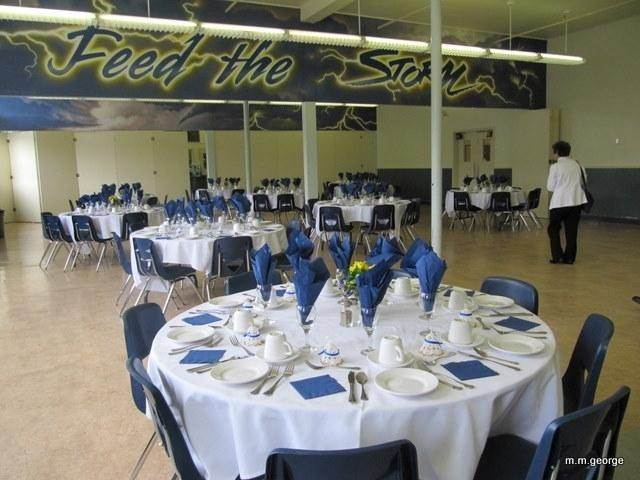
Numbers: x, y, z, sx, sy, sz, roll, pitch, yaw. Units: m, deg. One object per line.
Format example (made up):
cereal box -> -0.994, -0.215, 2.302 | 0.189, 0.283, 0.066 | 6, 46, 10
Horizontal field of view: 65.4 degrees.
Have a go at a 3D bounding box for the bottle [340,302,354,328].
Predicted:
bottle -> 0.157, 0.461, 3.025 | 0.089, 0.099, 0.082 | 2, 5, 32

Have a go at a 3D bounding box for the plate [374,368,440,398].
plate -> 0.415, 0.683, 2.380 | 0.301, 0.055, 0.206 | 0, 12, 13

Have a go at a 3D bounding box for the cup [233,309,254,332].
cup -> -0.451, 0.473, 2.964 | 0.118, 0.129, 0.099 | 4, 4, 39

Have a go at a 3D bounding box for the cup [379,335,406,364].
cup -> 0.363, 0.568, 2.530 | 0.087, 0.108, 0.147 | 2, 20, 6

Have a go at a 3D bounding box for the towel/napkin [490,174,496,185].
towel/napkin -> 3.925, -1.318, 11.182 | 0.142, 0.184, 0.612 | 2, 12, 21

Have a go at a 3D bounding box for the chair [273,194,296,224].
chair -> -0.841, -0.804, 11.719 | 0.491, 0.890, 0.572 | -2, 22, -8

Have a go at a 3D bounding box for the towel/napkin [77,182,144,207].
towel/napkin -> -4.521, -0.956, 10.597 | 1.049, 0.510, 1.011 | -15, -11, 36

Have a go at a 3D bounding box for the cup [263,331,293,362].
cup -> -0.227, 0.554, 2.619 | 0.100, 0.122, 0.158 | -10, 19, -36

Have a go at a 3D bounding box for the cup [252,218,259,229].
cup -> -0.848, -0.209, 6.466 | 0.087, 0.113, 0.092 | 2, 13, 0

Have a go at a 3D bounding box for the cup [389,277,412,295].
cup -> 0.579, 0.314, 3.465 | 0.106, 0.121, 0.113 | -1, 2, 0

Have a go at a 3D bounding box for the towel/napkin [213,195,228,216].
towel/napkin -> -1.412, -0.485, 6.959 | 0.188, 0.164, 0.284 | -14, 29, -32

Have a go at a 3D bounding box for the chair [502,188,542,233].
chair -> 4.353, -0.651, 10.636 | 0.483, 0.764, 0.537 | 3, 4, -4

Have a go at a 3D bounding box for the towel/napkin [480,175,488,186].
towel/napkin -> 3.792, -1.364, 11.491 | 0.136, 0.210, 1.265 | 1, 12, 16

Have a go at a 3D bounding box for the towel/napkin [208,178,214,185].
towel/napkin -> -3.128, -1.660, 14.221 | 0.151, 0.197, 0.163 | 7, 16, 19

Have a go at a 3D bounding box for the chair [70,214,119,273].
chair -> -3.729, 0.063, 8.145 | 0.569, 1.093, 0.738 | 4, 17, 8

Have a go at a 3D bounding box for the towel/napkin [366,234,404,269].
towel/napkin -> 0.398, 0.058, 3.101 | 0.200, 0.106, 0.223 | 5, 33, 18

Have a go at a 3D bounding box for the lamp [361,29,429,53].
lamp -> 1.243, -3.117, 7.934 | 1.269, 0.148, 0.359 | -9, 13, -30

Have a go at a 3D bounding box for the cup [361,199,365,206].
cup -> 0.757, -0.643, 8.838 | 0.091, 0.075, 0.068 | 2, -2, -44

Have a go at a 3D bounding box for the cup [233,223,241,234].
cup -> -1.017, -0.132, 6.106 | 0.119, 0.132, 0.089 | -11, 17, -41

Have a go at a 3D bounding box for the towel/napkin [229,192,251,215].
towel/napkin -> -1.114, -0.492, 6.908 | 0.240, 0.235, 0.919 | -4, 11, -10

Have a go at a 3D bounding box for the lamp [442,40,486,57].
lamp -> 2.430, -3.249, 8.565 | 0.977, 0.183, 0.329 | -7, 12, -23

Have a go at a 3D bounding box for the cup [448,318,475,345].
cup -> 0.768, 0.503, 2.690 | 0.115, 0.112, 0.125 | -1, 9, 0

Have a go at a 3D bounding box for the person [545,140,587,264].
person -> 3.677, -0.542, 7.372 | 0.542, 1.765, 0.537 | 4, 12, 27

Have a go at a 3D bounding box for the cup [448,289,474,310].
cup -> 0.896, 0.371, 3.155 | 0.147, 0.115, 0.099 | 6, 6, 34

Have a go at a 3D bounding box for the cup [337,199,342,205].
cup -> 0.381, -0.688, 9.214 | 0.112, 0.132, 0.223 | -1, 2, 6

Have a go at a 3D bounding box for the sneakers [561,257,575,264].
sneakers -> 3.697, 0.314, 7.337 | 0.063, 0.087, 0.190 | -1, -2, 2

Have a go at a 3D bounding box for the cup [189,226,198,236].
cup -> -1.500, -0.085, 5.909 | 0.106, 0.124, 0.113 | -3, 13, 1

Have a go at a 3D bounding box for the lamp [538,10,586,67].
lamp -> 5.249, -4.171, 10.556 | 0.726, 1.044, 3.368 | 4, 13, 28

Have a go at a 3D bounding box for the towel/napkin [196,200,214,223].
towel/napkin -> -1.491, -0.369, 6.450 | 0.254, 0.270, 0.294 | -10, 3, -8

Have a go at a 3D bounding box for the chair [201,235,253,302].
chair -> -0.947, 0.251, 5.049 | 0.520, 0.815, 0.516 | -4, 18, -17

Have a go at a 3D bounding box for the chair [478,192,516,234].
chair -> 4.064, -0.734, 11.261 | 0.578, 0.913, 2.288 | 2, 12, 19
